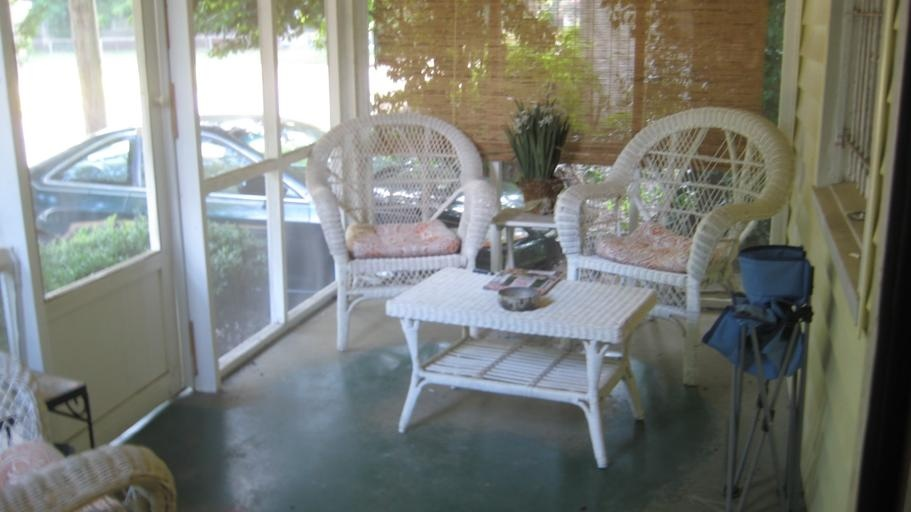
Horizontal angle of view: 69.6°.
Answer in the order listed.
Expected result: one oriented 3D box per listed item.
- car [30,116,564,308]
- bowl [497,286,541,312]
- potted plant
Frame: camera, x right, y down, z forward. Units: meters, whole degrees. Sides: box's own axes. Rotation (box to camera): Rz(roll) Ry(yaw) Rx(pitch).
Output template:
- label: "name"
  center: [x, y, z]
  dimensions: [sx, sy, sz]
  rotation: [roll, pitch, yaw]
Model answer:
- label: "car"
  center: [-0.893, -0.259, 3.738]
  dimensions: [2.284, 0.700, 0.924]
  rotation: [-4, 9, -10]
- label: "bowl"
  center: [0.305, 0.208, 3.217]
  dimensions: [0.148, 0.053, 0.138]
  rotation: [-2, 16, 0]
- label: "potted plant"
  center: [0.587, -0.698, 4.533]
  dimensions: [0.386, 0.724, 0.330]
  rotation: [0, 3, 31]
